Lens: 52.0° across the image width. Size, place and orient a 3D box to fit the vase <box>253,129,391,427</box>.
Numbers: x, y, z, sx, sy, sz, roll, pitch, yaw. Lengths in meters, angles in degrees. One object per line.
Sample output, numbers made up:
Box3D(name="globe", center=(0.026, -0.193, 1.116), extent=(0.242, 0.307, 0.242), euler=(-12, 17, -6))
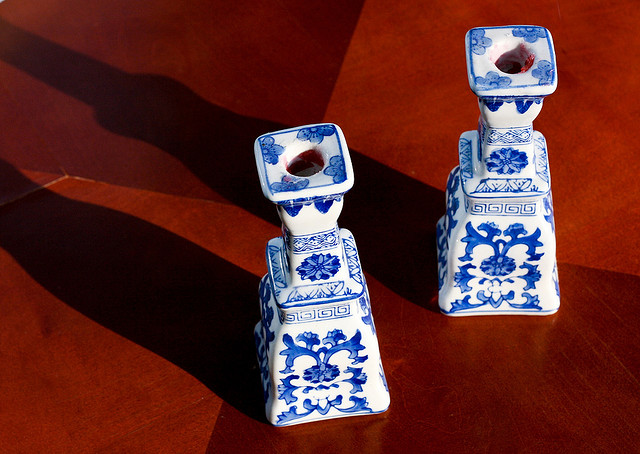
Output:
Box3D(name="vase", center=(-0.014, 0.143, 1.617), extent=(0.353, 0.728, 0.361), euler=(-4, 40, 0))
